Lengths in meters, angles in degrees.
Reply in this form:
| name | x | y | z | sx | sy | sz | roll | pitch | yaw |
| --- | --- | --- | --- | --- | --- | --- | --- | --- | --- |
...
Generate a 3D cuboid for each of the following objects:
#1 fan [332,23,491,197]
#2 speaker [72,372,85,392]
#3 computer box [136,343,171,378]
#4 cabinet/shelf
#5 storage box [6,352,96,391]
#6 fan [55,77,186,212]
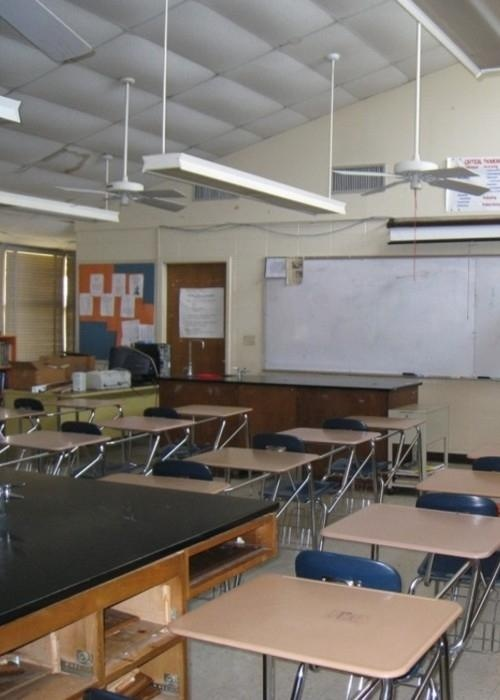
| name | x | y | z | sx | sy | sz | roll | pitch | yaw |
| --- | --- | --- | --- | --- | --- | --- | --- | --- | --- |
| fan | 1.140 | -1.587 | 4.188 | 0.764 | 0.952 | 0.734 | 6 | 30 | 24 |
| speaker | -1.894 | 0.358 | 6.848 | 0.138 | 0.209 | 0.107 | -4 | 6 | -24 |
| computer box | -1.215 | 0.111 | 7.755 | 0.430 | 0.398 | 0.438 | -3 | 6 | -10 |
| cabinet/shelf | 1.385 | 0.804 | 5.169 | 0.361 | 0.718 | 0.867 | 0 | 2 | 26 |
| storage box | -2.279 | 0.239 | 7.318 | 0.509 | 0.347 | 0.942 | 2 | 4 | 27 |
| fan | -1.006 | -1.694 | 4.958 | 1.006 | 0.939 | 0.999 | 5 | 10 | 16 |
